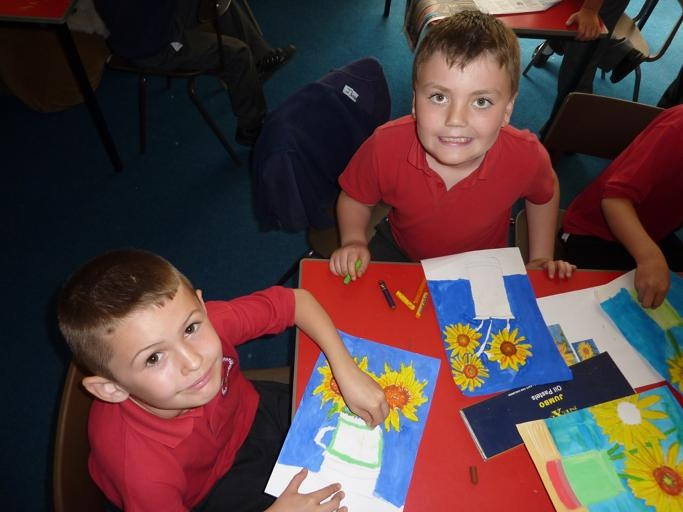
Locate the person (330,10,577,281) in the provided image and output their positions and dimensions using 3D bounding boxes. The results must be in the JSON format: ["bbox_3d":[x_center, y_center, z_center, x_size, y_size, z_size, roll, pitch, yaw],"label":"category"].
[{"bbox_3d":[0.379,-0.255,1.704,0.836,0.863,0.528,-1,44,3],"label":"person"}]

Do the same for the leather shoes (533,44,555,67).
[{"bbox_3d":[1.347,-1.346,3.444,0.068,0.209,0.089,8,75,10],"label":"leather shoes"}]
